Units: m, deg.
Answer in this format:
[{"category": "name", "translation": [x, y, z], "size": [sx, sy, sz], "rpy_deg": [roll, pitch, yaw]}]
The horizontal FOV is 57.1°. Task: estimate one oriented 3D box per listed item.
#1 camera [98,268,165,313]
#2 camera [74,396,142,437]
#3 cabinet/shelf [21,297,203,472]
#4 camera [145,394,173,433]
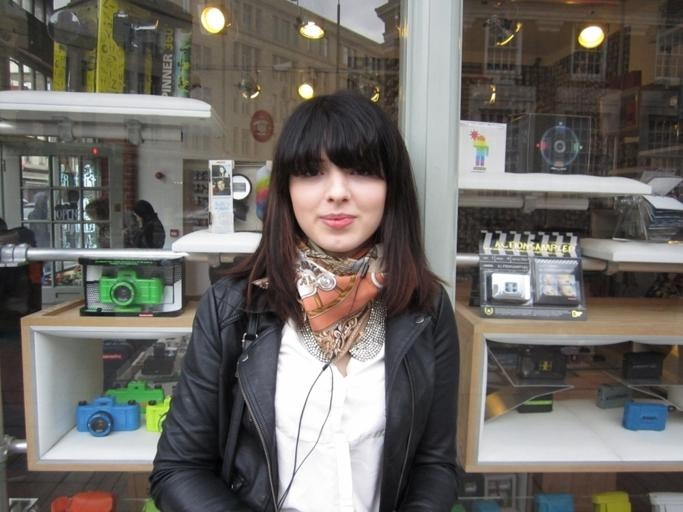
[{"category": "camera", "translation": [-0.842, 0.130, 2.490], "size": [0.233, 0.165, 0.127], "rpy_deg": [1, 8, 8]}, {"category": "camera", "translation": [-0.954, 0.579, 2.560], "size": [0.255, 0.156, 0.143], "rpy_deg": [1, -2, -8]}, {"category": "cabinet/shelf", "translation": [-0.924, 0.490, 2.671], "size": [0.660, 0.656, 0.501], "rpy_deg": [-7, 4, -16]}, {"category": "camera", "translation": [-0.773, 0.634, 2.622], "size": [0.073, 0.138, 0.142], "rpy_deg": [3, 8, -12]}]
